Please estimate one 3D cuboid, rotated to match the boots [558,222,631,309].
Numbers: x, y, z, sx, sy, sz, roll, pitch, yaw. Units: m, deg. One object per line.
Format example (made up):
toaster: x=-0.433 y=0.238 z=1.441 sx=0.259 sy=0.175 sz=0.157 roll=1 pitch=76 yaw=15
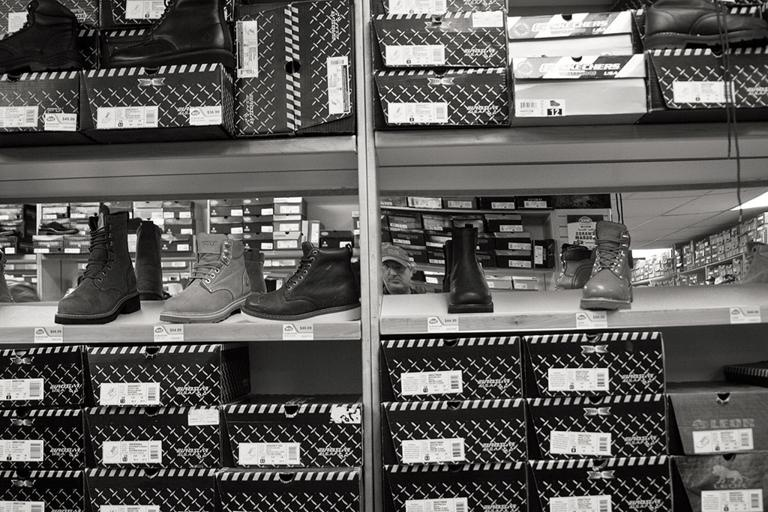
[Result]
boots: x=0.737 y=0.051 z=3.229 sx=0.126 sy=0.272 sz=0.364 roll=-2 pitch=-2 yaw=20
